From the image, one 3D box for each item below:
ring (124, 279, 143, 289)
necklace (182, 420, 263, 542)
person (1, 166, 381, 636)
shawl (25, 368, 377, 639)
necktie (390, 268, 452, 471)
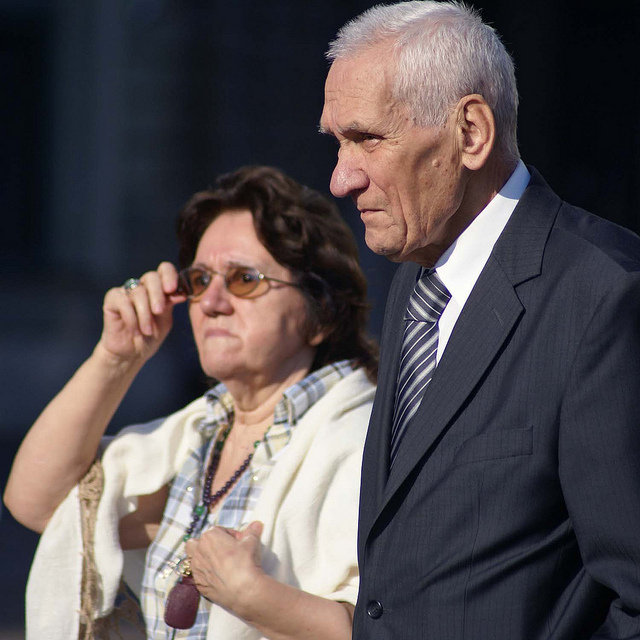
[{"bbox_3d":[-0.728,-0.143,6.539,0.041,0.027,0.055,-5,14,-2],"label":"ring"},{"bbox_3d":[-0.372,0.595,6.470,0.169,0.577,0.028,15,-27,30],"label":"necklace"},{"bbox_3d":[-0.488,0.381,6.559,0.712,2.162,1.101,25,-30,-17],"label":"person"},{"bbox_3d":[-0.428,0.714,6.208,0.810,0.772,0.368,11,-29,45],"label":"shawl"},{"bbox_3d":[0.318,0.156,5.637,0.218,0.645,0.168,-1,4,-14],"label":"necktie"}]
